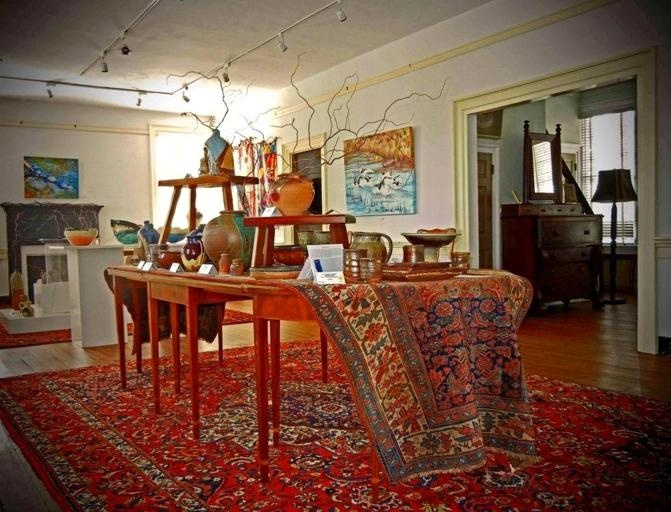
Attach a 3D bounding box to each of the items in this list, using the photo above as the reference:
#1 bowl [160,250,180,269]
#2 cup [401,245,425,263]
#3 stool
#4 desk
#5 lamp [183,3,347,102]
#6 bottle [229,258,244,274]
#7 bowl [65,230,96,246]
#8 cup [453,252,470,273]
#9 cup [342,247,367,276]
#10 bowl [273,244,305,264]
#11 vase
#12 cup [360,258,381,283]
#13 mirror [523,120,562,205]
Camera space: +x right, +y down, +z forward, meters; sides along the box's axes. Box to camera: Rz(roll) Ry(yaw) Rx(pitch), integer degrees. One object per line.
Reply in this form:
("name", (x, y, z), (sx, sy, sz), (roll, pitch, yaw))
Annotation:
("bowl", (-1.143, 0.023, 3.252), (0.134, 0.075, 0.129), (0, -2, 0))
("cup", (0.386, -0.010, 2.416), (0.100, 0.092, 0.097), (0, -1, 0))
("stool", (-0.210, -0.121, 2.623), (0.608, 0.275, 0.315), (-2, 3, -24))
("desk", (-0.048, 0.619, 2.618), (1.986, 1.054, 0.984), (1, 3, 42))
("lamp", (-1.304, -3.002, 7.362), (0.670, 0.649, 4.460), (-3, 3, -37))
("bottle", (-0.550, 0.057, 2.648), (0.079, 0.069, 0.077), (-1, 1, 25))
("bowl", (-3.166, -0.231, 5.966), (0.268, 0.127, 0.258), (0, 1, 0))
("cup", (0.649, 0.025, 2.448), (0.097, 0.087, 0.112), (0, -3, -1))
("cup", (0.091, 0.031, 2.162), (0.120, 0.114, 0.115), (0, 1, 0))
("bowl", (-0.269, -0.021, 2.684), (0.137, 0.076, 0.122), (5, 5, 31))
("vase", (-0.961, -0.385, 3.944), (1.145, 1.466, 1.020), (3, 4, 39))
("cup", (0.157, 0.067, 2.205), (0.111, 0.111, 0.107), (-3, 3, 0))
("mirror", (3.194, -1.441, 7.326), (0.882, 1.228, 0.281), (-3, 2, -36))
